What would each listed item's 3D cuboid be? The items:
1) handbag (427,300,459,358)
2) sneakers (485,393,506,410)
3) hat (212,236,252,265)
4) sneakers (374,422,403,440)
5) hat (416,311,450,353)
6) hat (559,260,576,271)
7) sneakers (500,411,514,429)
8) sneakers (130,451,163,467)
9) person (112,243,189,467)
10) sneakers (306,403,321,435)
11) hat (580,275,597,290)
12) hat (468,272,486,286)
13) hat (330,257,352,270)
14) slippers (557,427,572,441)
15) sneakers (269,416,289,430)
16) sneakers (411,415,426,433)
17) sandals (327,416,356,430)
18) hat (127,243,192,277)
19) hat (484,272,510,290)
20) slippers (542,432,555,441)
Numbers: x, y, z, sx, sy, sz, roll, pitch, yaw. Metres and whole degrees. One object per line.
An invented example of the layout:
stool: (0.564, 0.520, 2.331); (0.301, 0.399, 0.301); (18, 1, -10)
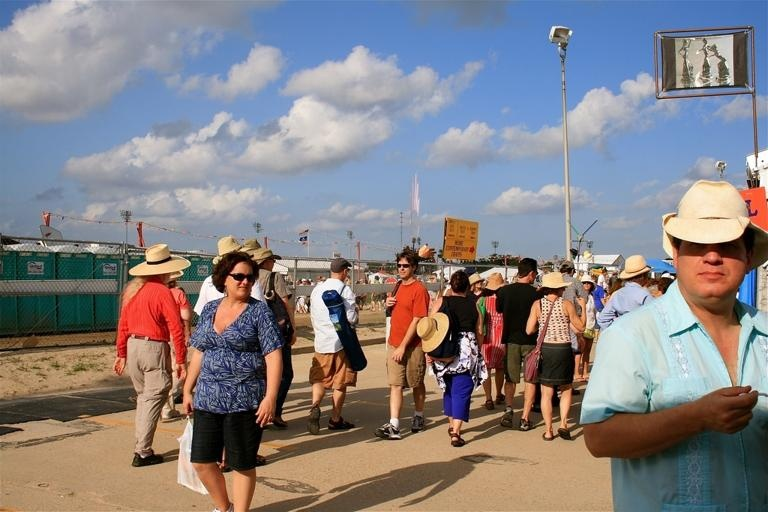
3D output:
handbag: (0.798, 0.973, 8.236); (0.181, 0.602, 0.437); (6, -5, -33)
sneakers: (1.796, 2.391, 10.485); (0.151, 0.114, 0.386); (1, 5, 31)
hat: (-1.577, -0.043, 6.648); (0.302, 0.130, 0.336); (-19, -3, 16)
sneakers: (0.070, 2.298, 8.378); (0.387, 0.174, 0.156); (8, -3, -9)
hat: (0.633, 0.952, 8.191); (0.152, 0.465, 0.455); (23, -49, -30)
hat: (3.644, 0.155, 12.774); (0.339, 0.162, 0.492); (-1, -6, 22)
sneakers: (1.763, 2.375, 9.178); (0.134, 0.313, 0.143); (9, 44, 6)
sneakers: (-2.645, 2.282, 7.131); (0.326, 0.146, 0.138); (-1, 2, -35)
person: (-2.679, 1.094, 7.353); (0.728, 1.752, 0.948); (2, 1, -27)
sneakers: (-0.925, 2.160, 8.475); (0.178, 0.384, 0.165); (5, -8, 0)
hat: (4.600, 0.577, 14.503); (0.510, 0.248, 0.521); (-1, -14, 4)
hat: (1.656, 0.474, 11.809); (0.287, 0.121, 0.315); (-40, -1, -41)
hat: (-0.587, 0.105, 8.437); (0.179, 0.140, 0.261); (8, 21, 30)
slippers: (2.397, 2.401, 8.507); (0.093, 0.281, 0.109); (-1, 31, 35)
sneakers: (-1.424, 2.260, 8.711); (0.276, 0.179, 0.154); (1, 5, 12)
sneakers: (0.474, 2.335, 8.864); (0.146, 0.154, 0.364); (-1, -13, 6)
sandals: (-0.578, 2.300, 8.828); (0.364, 0.166, 0.155); (1, 1, -15)
hat: (-3.391, 0.072, 9.474); (0.741, 0.275, 0.836); (-1, 7, 4)
hat: (1.972, 0.470, 11.190); (0.337, 0.129, 0.290); (-31, 15, -32)
slippers: (2.186, 2.376, 8.519); (0.157, 0.105, 0.235); (2, 1, 15)
